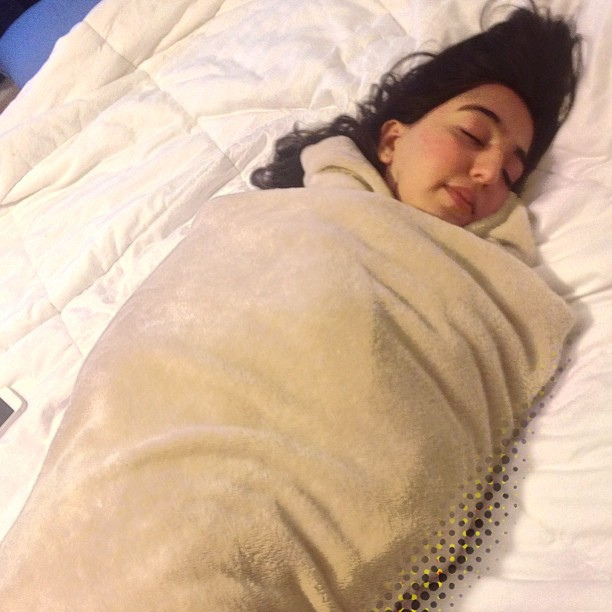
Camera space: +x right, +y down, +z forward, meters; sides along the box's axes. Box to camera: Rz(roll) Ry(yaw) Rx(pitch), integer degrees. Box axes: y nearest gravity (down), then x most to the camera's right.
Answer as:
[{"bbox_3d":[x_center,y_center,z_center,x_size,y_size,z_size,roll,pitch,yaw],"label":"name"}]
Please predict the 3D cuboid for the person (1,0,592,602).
[{"bbox_3d":[0.188,0.056,1.204,0.643,0.242,1.058,34,69,31],"label":"person"}]
